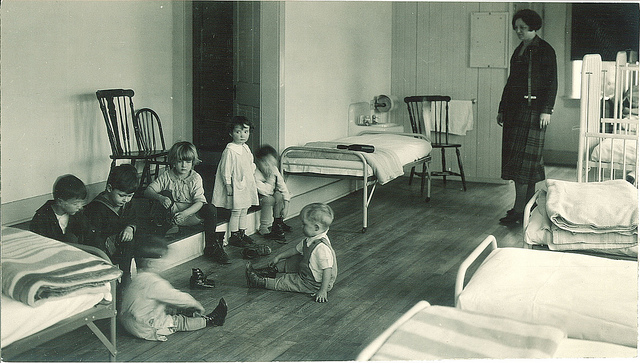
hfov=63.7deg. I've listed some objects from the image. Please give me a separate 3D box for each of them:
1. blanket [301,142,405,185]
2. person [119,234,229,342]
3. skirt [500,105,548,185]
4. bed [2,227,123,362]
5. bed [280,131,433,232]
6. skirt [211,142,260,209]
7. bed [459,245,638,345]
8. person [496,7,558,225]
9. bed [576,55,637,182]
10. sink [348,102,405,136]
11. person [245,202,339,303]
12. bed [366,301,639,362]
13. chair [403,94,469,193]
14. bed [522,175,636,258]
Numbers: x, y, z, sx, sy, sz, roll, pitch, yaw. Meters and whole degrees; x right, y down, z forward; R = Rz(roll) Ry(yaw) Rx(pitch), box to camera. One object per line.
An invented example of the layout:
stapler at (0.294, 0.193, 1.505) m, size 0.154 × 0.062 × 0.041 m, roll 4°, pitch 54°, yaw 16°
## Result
blanket at (0.586, -0.227, 5.558) m, size 1.154 × 0.240 × 1.066 m, roll -3°, pitch 13°, yaw -39°
person at (-1.119, 0.701, 3.516) m, size 0.754 × 0.648 × 0.550 m, roll 1°, pitch 2°, yaw -41°
skirt at (2.036, -0.356, 5.188) m, size 0.538 × 0.756 × 0.199 m, roll 3°, pitch 2°, yaw 13°
bed at (-1.579, 0.641, 3.014) m, size 0.705 × 0.441 × 0.746 m, roll -6°, pitch 19°, yaw -42°
bed at (0.476, -0.099, 5.715) m, size 1.233 × 0.674 × 1.730 m, roll 5°, pitch 13°, yaw 27°
skirt at (-0.757, -0.045, 4.481) m, size 0.419 × 0.575 × 0.196 m, roll -9°, pitch 17°, yaw -13°
bed at (1.317, 0.625, 2.909) m, size 0.754 × 0.155 × 0.575 m, roll 3°, pitch 12°, yaw 21°
person at (2.195, -0.736, 5.506) m, size 0.556 × 2.096 × 1.467 m, roll 1°, pitch 17°, yaw 20°
bed at (2.451, -0.560, 4.368) m, size 0.440 × 1.019 × 0.806 m, roll 6°, pitch 19°, yaw 33°
sink at (0.751, -0.717, 6.328) m, size 0.767 × 0.448 × 0.387 m, roll -2°, pitch -3°, yaw 30°
person at (-0.102, 0.485, 3.962) m, size 0.864 × 0.739 × 0.562 m, roll 7°, pitch 11°, yaw 5°
bed at (0.721, 0.788, 2.584) m, size 0.947 × 0.147 × 0.408 m, roll -2°, pitch 15°, yaw 8°
chair at (1.471, -0.528, 6.763) m, size 0.658 × 1.098 × 0.614 m, roll -11°, pitch -4°, yaw 22°
bed at (1.778, 0.276, 3.554) m, size 0.700 × 0.185 × 0.652 m, roll 3°, pitch 26°, yaw 19°
